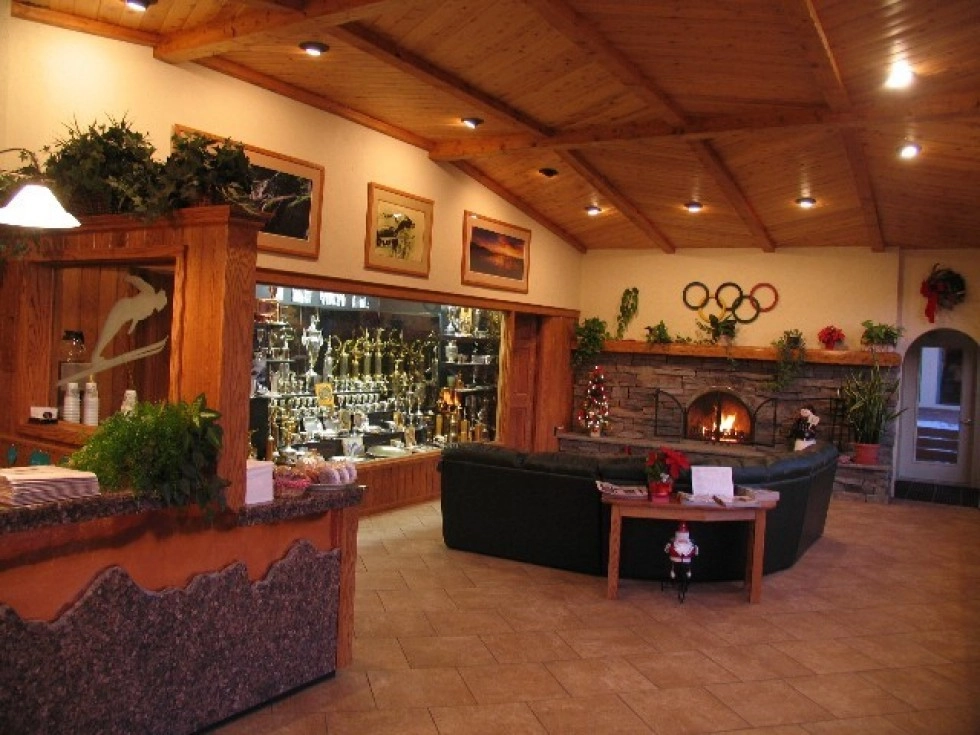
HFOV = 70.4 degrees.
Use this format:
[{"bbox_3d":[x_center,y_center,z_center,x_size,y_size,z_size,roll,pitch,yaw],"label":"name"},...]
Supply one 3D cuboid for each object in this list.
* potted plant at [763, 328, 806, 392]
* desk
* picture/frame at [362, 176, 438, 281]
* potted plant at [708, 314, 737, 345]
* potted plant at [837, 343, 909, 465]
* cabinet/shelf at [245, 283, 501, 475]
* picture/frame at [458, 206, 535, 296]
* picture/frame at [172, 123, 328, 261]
[{"bbox_3d":[4.255,-0.093,9.771,0.488,0.824,0.387,1,1,-41],"label":"potted plant"},{"bbox_3d":[1.646,1.412,5.698,1.223,0.731,0.591,0,-1,4],"label":"desk"},{"bbox_3d":[-1.014,-1.494,7.770,0.057,0.616,1.016,3,1,35],"label":"picture/frame"},{"bbox_3d":[3.433,-0.542,10.297,0.414,0.332,0.410,5,-6,8],"label":"potted plant"},{"bbox_3d":[5.076,0.556,9.349,0.726,1.546,0.442,3,1,25],"label":"potted plant"},{"bbox_3d":[-1.407,0.066,8.129,0.545,1.881,4.267,5,0,34],"label":"cabinet/shelf"},{"bbox_3d":[0.047,-1.543,9.195,0.053,0.891,1.413,-1,-2,37],"label":"picture/frame"},{"bbox_3d":[-2.212,-1.573,6.411,1.376,0.958,0.035,7,-5,-33],"label":"picture/frame"}]
